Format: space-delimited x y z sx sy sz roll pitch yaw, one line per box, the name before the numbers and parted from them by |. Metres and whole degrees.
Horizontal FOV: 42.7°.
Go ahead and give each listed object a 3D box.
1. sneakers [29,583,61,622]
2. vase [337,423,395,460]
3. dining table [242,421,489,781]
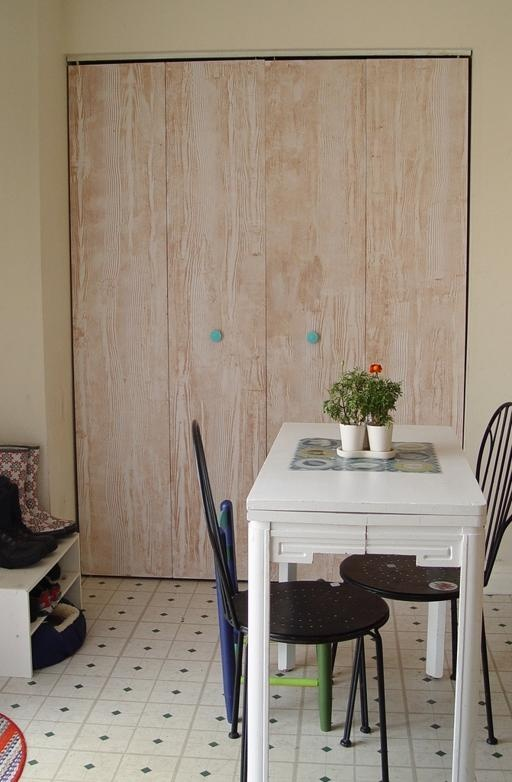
sneakers | -0.694 0.687 2.143 0.041 0.057 0.125 0 15 4
vase | 0.275 0.115 1.596 0.104 0.076 0.085 0 4 3
dining table | 0.248 0.512 1.446 0.529 0.712 0.692 0 3 2
